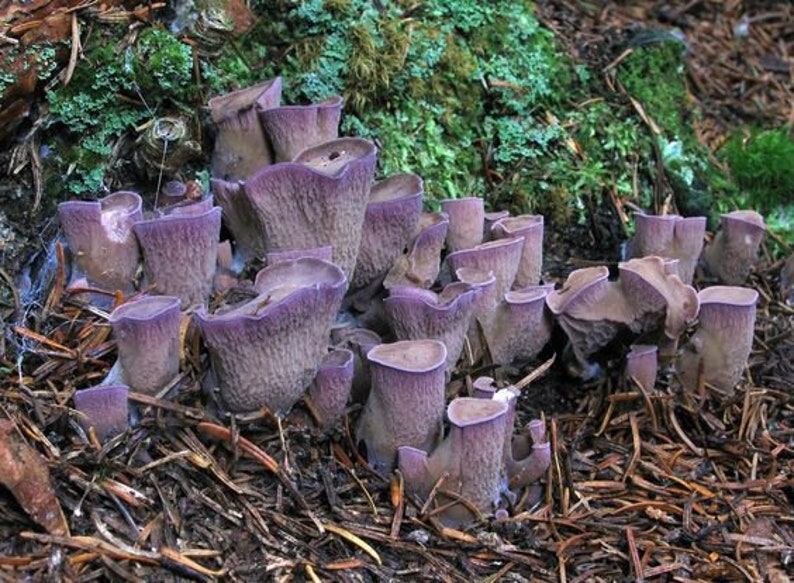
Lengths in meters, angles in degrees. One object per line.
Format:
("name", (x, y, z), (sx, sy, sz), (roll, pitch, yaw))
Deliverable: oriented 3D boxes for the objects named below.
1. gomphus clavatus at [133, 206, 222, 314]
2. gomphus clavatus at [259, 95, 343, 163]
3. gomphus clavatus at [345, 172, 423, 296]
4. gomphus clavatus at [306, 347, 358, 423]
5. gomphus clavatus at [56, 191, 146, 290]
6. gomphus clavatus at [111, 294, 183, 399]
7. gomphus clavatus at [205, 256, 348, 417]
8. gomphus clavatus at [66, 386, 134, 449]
("gomphus clavatus", (-1.186, -0.273, 4.785), (0.535, 0.657, 0.510), (-11, 18, -32))
("gomphus clavatus", (-0.538, -1.008, 5.062), (0.379, 0.390, 0.410), (14, 32, 43))
("gomphus clavatus", (-0.016, -0.357, 5.168), (0.572, 0.785, 0.280), (10, 55, -26))
("gomphus clavatus", (-0.401, 0.605, 4.784), (0.254, 0.383, 0.264), (-7, 11, -41))
("gomphus clavatus", (-1.606, -0.353, 4.852), (0.506, 0.671, 0.492), (-8, 15, -19))
("gomphus clavatus", (-1.371, 0.350, 4.489), (0.291, 0.461, 0.319), (11, 15, 31))
("gomphus clavatus", (-0.649, 0.271, 4.513), (0.760, 0.774, 0.402), (-27, 42, -31))
("gomphus clavatus", (-1.521, 0.632, 4.347), (0.276, 0.295, 0.140), (-18, 38, -21))
